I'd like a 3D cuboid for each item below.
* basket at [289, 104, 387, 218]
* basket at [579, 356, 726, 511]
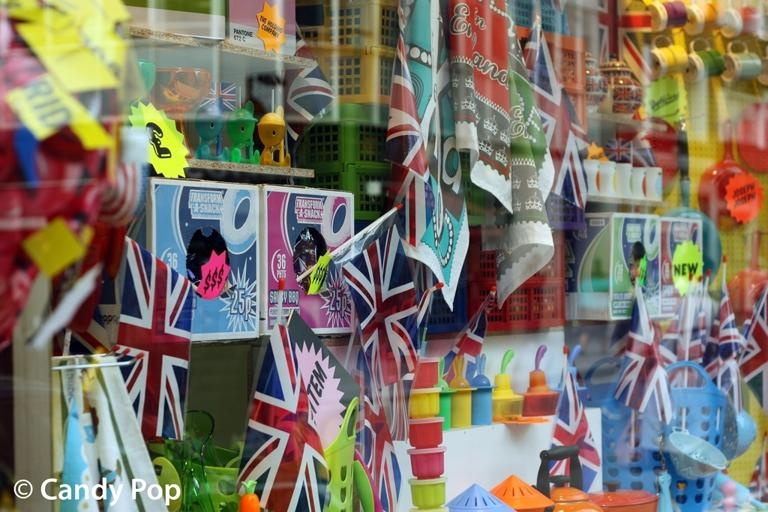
[{"bbox_3d":[-0.096,-0.261,3.524,0.235,0.398,0.265,-1,-2,19],"label":"basket"},{"bbox_3d":[0.885,0.612,4.283,0.414,0.408,0.493,0,73,0],"label":"basket"}]
